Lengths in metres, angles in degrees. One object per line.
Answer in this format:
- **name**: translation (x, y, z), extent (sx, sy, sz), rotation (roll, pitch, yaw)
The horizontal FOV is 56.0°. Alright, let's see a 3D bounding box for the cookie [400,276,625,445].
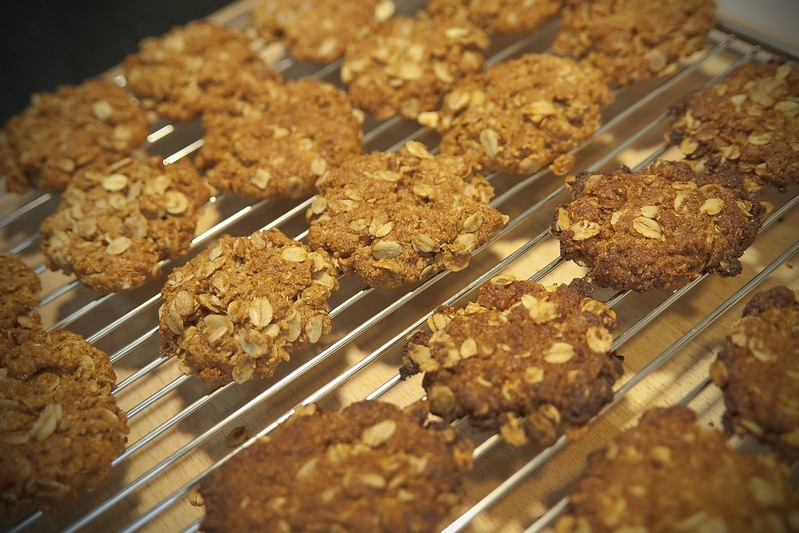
- **cookie**: translation (0.341, 0.272, 2.128), extent (0.609, 0.126, 0.477), rotation (-33, 84, -3)

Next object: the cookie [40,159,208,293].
- **cookie**: translation (-0.842, -0.149, 2.365), extent (0.409, 0.220, 0.476), rotation (22, 84, 3)

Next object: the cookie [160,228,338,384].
- **cookie**: translation (-0.444, 0.119, 2.286), extent (0.543, 0.255, 0.439), rotation (-7, 84, 0)
